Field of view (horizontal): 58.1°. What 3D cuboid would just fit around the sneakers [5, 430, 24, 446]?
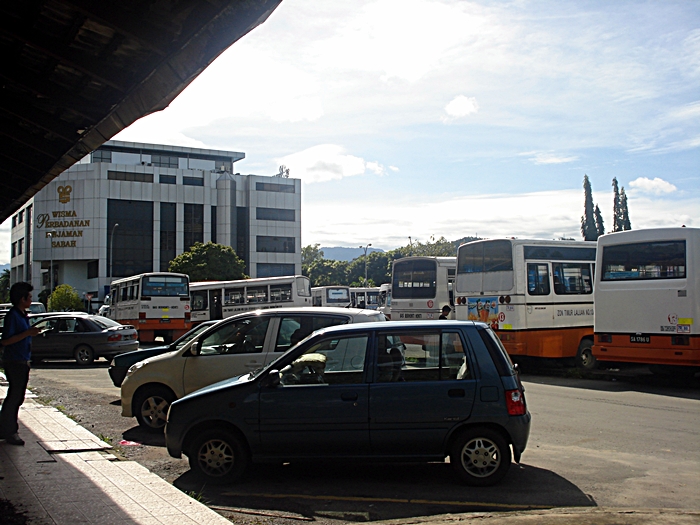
[{"bbox_3d":[-4.839,2.583,9.255,0.425,0.171,0.130,1,6,8],"label":"sneakers"}]

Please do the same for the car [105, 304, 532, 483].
[{"bbox_3d":[-0.111,1.704,8.668,4.132,1.732,2.034,2,-6,2],"label":"car"}]
